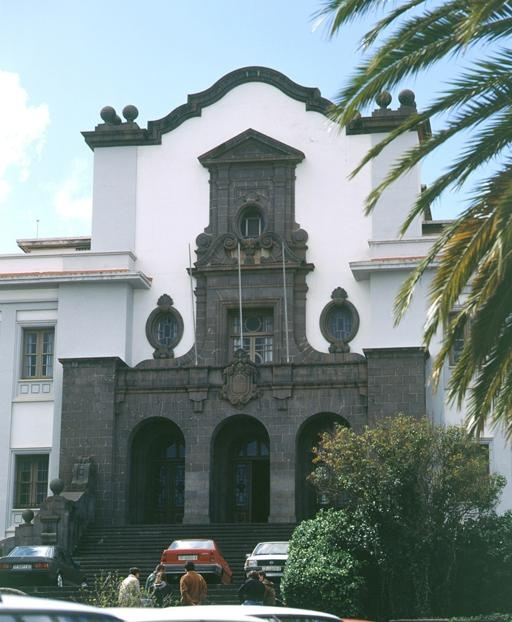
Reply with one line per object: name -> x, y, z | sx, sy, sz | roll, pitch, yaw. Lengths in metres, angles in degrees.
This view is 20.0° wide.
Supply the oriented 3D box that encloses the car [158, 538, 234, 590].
car -> -1.400, 5.667, 32.507 | 1.150, 0.913, 2.017 | 0, -12, 6
